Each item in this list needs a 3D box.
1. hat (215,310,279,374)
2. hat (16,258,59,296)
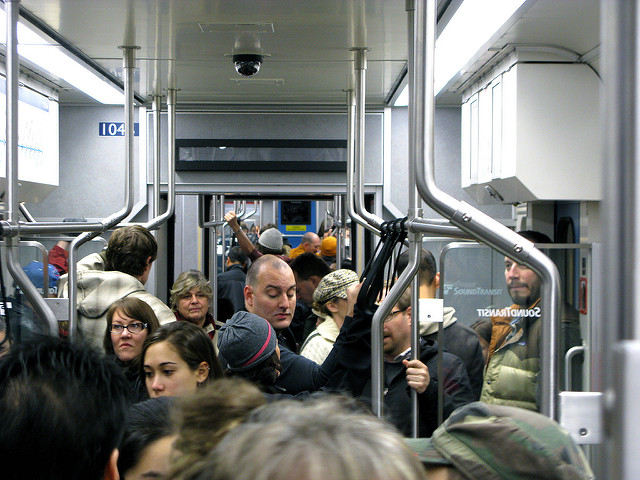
[{"bbox_3d":[-0.281,0.354,2.753,0.175,0.222,0.197,3,1,-41],"label":"hat"},{"bbox_3d":[-1.378,0.169,3.660,0.154,0.184,0.189,3,4,-8],"label":"hat"}]
